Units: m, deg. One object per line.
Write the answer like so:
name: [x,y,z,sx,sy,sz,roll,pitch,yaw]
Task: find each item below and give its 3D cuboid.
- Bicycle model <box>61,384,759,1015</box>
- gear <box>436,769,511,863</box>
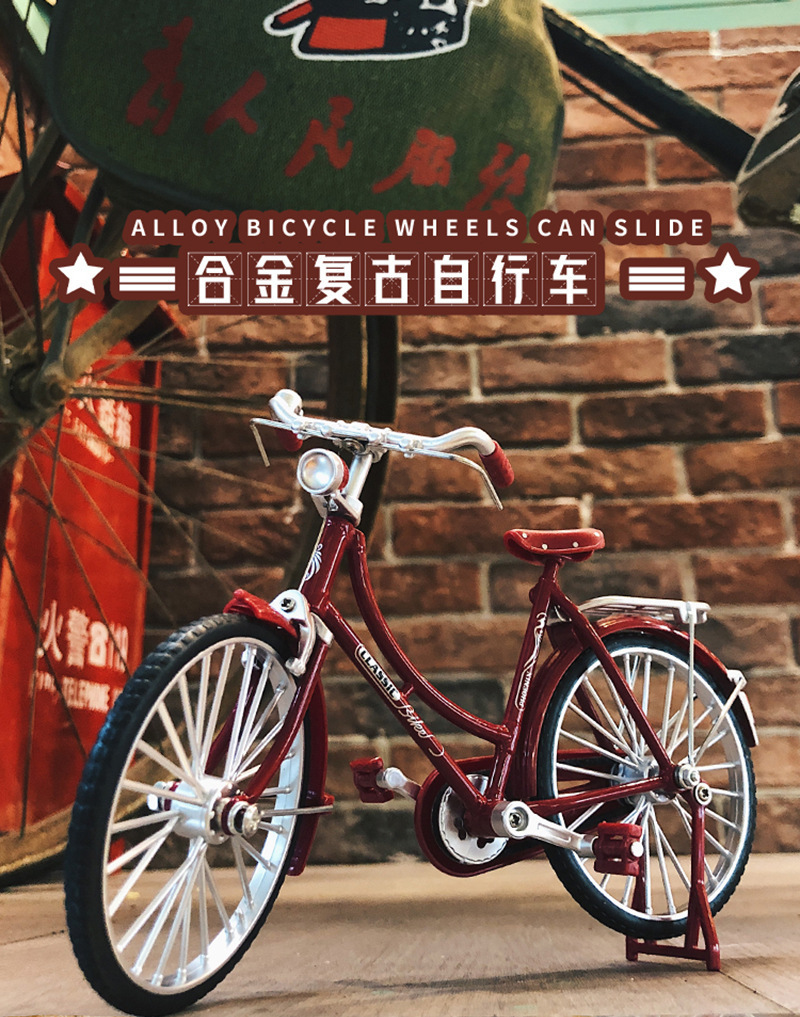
Bicycle model: [0.097,0.362,1.835,1.347,0.546,0.748,8,76,-31]
gear: [0.079,0.399,1.522,0.037,0.111,0.105,-6,47,54]
